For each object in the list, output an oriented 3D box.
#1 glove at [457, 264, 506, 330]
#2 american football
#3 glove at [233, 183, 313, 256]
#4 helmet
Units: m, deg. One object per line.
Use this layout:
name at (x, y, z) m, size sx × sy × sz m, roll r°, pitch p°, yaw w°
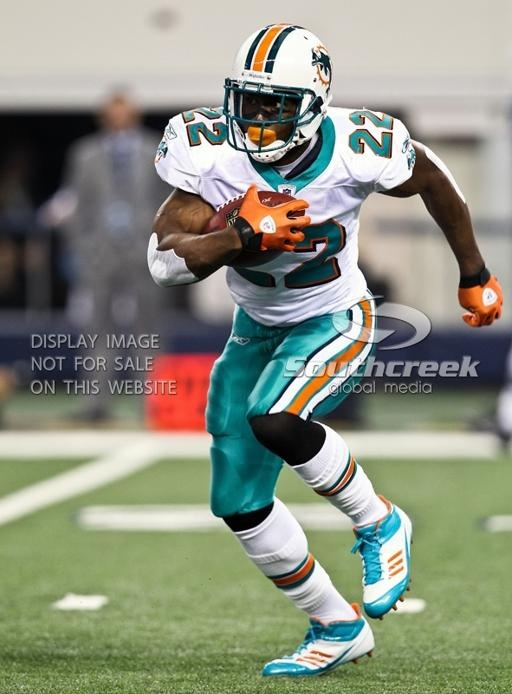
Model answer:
glove at (0.539, -0.103, 1.966) m, size 0.061 × 0.140 × 0.125 m, roll -14°, pitch 48°, yaw 46°
american football at (-0.012, -0.207, 1.528) m, size 0.178 × 0.068 × 0.123 m, roll -6°, pitch 37°, yaw 34°
glove at (0.023, -0.223, 1.495) m, size 0.161 × 0.065 × 0.106 m, roll 9°, pitch 47°, yaw -11°
helmet at (0.043, -0.532, 1.692) m, size 0.215 × 0.215 × 0.259 m, roll 12°, pitch 41°, yaw 17°
